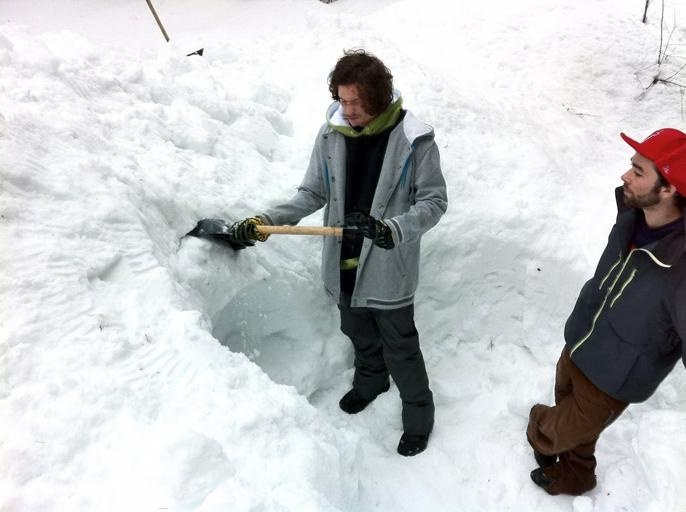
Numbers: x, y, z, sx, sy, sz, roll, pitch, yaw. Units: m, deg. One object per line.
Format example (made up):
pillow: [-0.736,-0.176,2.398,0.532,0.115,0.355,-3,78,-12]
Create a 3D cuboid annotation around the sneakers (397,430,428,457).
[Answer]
sneakers: [0.575,1.512,4.355,0.252,0.112,0.127,-16,38,-25]
